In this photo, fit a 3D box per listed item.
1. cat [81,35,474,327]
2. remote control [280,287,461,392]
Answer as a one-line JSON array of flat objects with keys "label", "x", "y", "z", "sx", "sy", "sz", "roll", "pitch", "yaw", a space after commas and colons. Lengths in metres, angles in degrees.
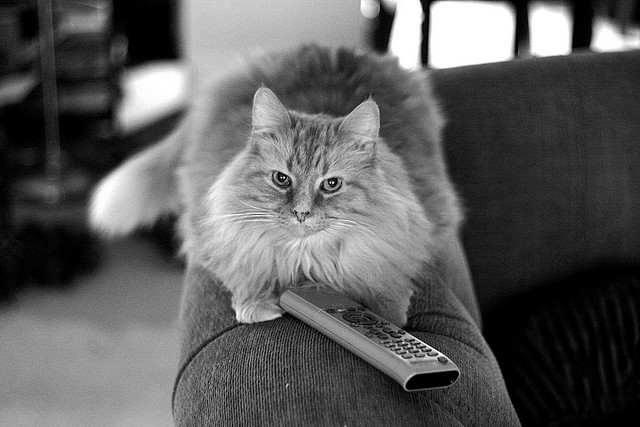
[{"label": "cat", "x": -0.100, "y": -0.095, "z": 1.184, "sx": 0.724, "sy": 0.264, "sz": 0.634, "roll": -9, "pitch": 50, "yaw": -27}, {"label": "remote control", "x": 0.064, "y": 0.193, "z": 1.022, "sx": 0.339, "sy": 0.070, "sz": 0.124, "roll": 33, "pitch": 23, "yaw": 33}]
